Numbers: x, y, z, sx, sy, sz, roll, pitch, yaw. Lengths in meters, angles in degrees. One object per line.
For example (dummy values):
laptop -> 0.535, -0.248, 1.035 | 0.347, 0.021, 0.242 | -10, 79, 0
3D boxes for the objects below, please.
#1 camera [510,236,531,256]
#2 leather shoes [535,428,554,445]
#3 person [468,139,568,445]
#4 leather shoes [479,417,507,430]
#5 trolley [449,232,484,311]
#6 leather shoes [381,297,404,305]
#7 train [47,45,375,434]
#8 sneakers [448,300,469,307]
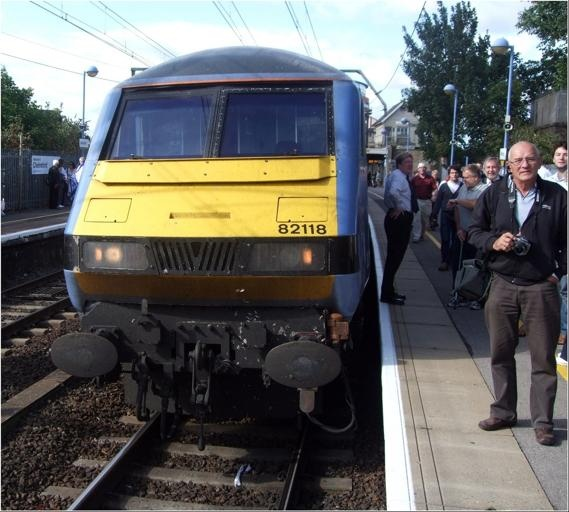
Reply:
camera -> 1.655, -0.074, 3.500 | 0.098, 0.132, 0.135 | -4, 8, 14
leather shoes -> 1.873, 1.294, 3.570 | 0.114, 0.106, 0.088 | 2, 8, 0
person -> 1.704, 0.370, 3.690 | 0.647, 1.933, 0.446 | 5, 8, 22
leather shoes -> 1.593, 1.280, 3.849 | 0.227, 0.107, 0.090 | 3, -1, -5
trolley -> 1.686, 0.103, 4.481 | 0.251, 0.671, 0.288 | 1, -17, 33
leather shoes -> 1.582, 0.651, 7.233 | 0.358, 0.166, 0.129 | 0, 3, 4
train -> -0.248, -0.363, 5.777 | 1.452, 2.412, 4.548 | 1, 4, 8
sneakers -> 2.526, 0.694, 7.326 | 0.333, 0.156, 0.117 | 1, 2, -8
